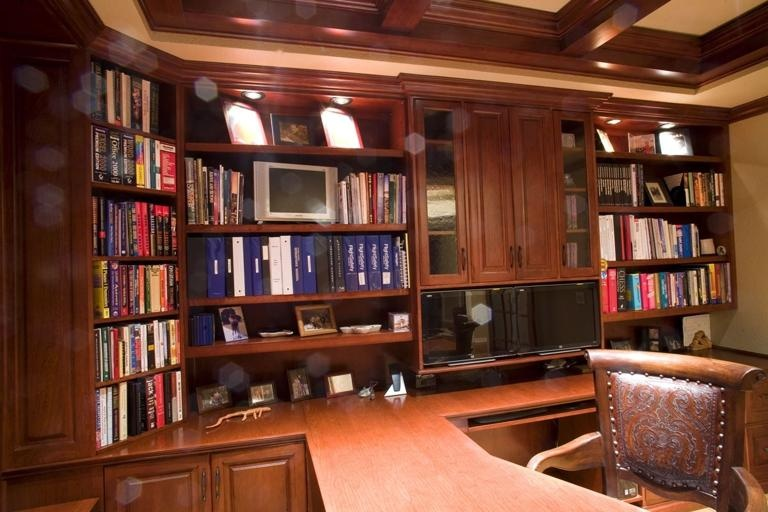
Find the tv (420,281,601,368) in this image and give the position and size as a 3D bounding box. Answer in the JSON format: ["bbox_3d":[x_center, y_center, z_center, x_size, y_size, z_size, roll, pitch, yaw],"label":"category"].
[{"bbox_3d":[0.902,0.473,4.033,1.659,0.495,0.223,-1,-3,-27],"label":"tv"}]

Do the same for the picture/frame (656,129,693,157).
[{"bbox_3d":[2.374,-0.921,4.524,0.262,0.209,0.115,5,-18,-12],"label":"picture/frame"}]

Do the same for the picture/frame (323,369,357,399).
[{"bbox_3d":[-0.314,0.907,3.871,0.214,0.142,0.020,-2,-17,-22],"label":"picture/frame"}]

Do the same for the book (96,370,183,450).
[{"bbox_3d":[-1.491,0.932,3.301,0.523,0.370,0.200,3,-6,-40],"label":"book"}]

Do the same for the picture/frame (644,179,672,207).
[{"bbox_3d":[2.236,-0.505,4.507,0.309,0.312,0.023,0,-28,-29],"label":"picture/frame"}]

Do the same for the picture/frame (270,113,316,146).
[{"bbox_3d":[-0.647,-0.874,3.837,0.331,0.199,0.030,-1,-12,-20],"label":"picture/frame"}]

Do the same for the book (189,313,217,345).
[{"bbox_3d":[-1.198,0.472,3.627,0.202,0.236,0.190,0,2,-20],"label":"book"}]

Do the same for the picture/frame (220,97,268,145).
[{"bbox_3d":[-0.964,-0.912,3.735,0.059,0.388,0.404,-19,-14,42],"label":"picture/frame"}]

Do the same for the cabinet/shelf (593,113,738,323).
[{"bbox_3d":[2.253,-0.299,4.431,1.903,1.530,0.461,4,-9,-22],"label":"cabinet/shelf"}]

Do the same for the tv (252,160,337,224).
[{"bbox_3d":[-0.704,-0.425,3.851,0.698,0.422,0.364,-4,5,-42],"label":"tv"}]

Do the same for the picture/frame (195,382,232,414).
[{"bbox_3d":[-1.144,0.954,3.668,0.214,0.138,0.020,0,-20,-32],"label":"picture/frame"}]

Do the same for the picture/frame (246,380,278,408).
[{"bbox_3d":[-0.834,0.949,3.751,0.177,0.129,0.059,0,-13,-23],"label":"picture/frame"}]

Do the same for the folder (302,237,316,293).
[{"bbox_3d":[-0.507,0.080,3.696,0.133,0.338,0.341,-1,-12,-4],"label":"folder"}]

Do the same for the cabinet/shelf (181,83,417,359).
[{"bbox_3d":[-0.618,-0.243,3.730,2.226,1.787,0.691,0,-5,-18],"label":"cabinet/shelf"}]

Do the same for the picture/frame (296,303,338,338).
[{"bbox_3d":[-0.476,0.456,3.814,0.257,0.187,0.023,-1,-26,-24],"label":"picture/frame"}]

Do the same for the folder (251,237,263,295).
[{"bbox_3d":[-0.840,0.068,3.629,0.078,0.365,0.096,-4,12,-5],"label":"folder"}]

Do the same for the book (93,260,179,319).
[{"bbox_3d":[-1.493,0.196,3.360,0.319,0.377,0.615,-1,0,43],"label":"book"}]

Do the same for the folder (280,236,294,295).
[{"bbox_3d":[-0.651,0.062,3.670,0.081,0.290,0.312,-4,-10,-9],"label":"folder"}]

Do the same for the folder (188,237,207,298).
[{"bbox_3d":[-1.208,0.078,3.557,0.145,0.382,0.083,-6,13,-17],"label":"folder"}]

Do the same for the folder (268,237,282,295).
[{"bbox_3d":[-0.721,0.067,3.656,0.077,0.371,0.101,-2,12,0],"label":"folder"}]

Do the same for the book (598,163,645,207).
[{"bbox_3d":[1.839,-0.545,4.297,0.420,0.328,0.147,1,-5,-18],"label":"book"}]

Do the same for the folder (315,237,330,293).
[{"bbox_3d":[-0.423,0.071,3.716,0.120,0.311,0.320,-2,-18,-3],"label":"folder"}]

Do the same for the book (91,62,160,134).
[{"bbox_3d":[-1.580,-0.952,3.345,0.145,0.404,0.402,5,13,30],"label":"book"}]

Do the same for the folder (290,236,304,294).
[{"bbox_3d":[-0.581,0.058,3.671,0.080,0.286,0.309,-5,0,-10],"label":"folder"}]
